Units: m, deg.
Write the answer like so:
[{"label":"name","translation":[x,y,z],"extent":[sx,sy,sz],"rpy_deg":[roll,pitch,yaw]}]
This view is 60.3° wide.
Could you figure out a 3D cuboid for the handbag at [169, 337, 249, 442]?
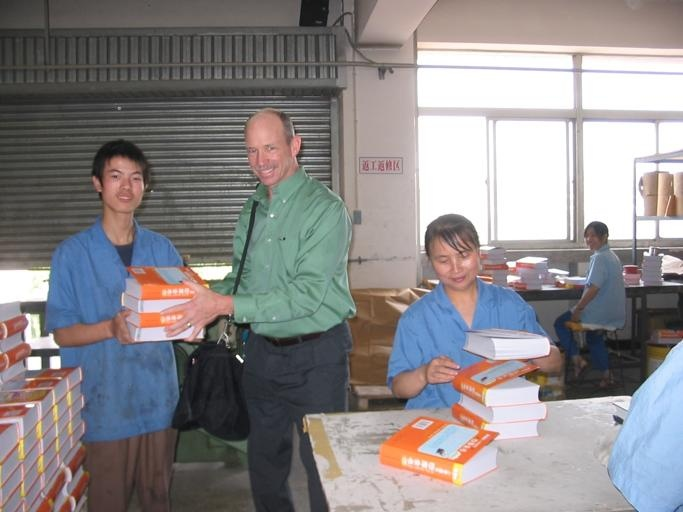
[{"label":"handbag","translation":[-0.730,0.750,3.090],"extent":[0.335,0.488,0.428],"rpy_deg":[11,-30,-29]}]

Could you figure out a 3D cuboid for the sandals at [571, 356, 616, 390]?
[{"label":"sandals","translation":[2.415,1.112,5.748],"extent":[0.177,0.229,0.580],"rpy_deg":[0,-3,-10]}]

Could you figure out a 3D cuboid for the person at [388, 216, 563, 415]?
[{"label":"person","translation":[0.638,0.405,2.868],"extent":[0.821,1.180,0.706],"rpy_deg":[-7,6,-3]}]
